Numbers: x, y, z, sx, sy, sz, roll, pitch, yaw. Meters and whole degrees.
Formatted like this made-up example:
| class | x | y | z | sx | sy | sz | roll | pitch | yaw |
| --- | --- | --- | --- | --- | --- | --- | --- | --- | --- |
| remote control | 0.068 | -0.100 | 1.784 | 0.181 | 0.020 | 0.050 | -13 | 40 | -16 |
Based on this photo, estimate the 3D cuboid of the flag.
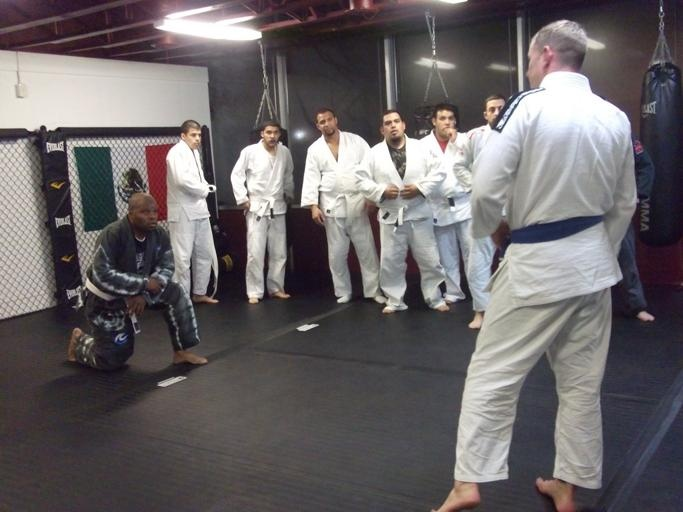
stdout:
| class | x | y | z | sx | sy | sz | roll | pitch | yaw |
| --- | --- | --- | --- | --- | --- | --- | --- | --- | --- |
| flag | -2.441 | -0.778 | 5.633 | 0.020 | 0.872 | 1.184 | 2 | 9 | 34 |

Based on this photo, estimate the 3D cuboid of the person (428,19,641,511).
| class | x | y | z | sx | sy | sz | roll | pitch | yaw |
| --- | --- | --- | --- | --- | --- | --- | --- | --- | --- |
| person | 0.778 | 0.150 | 2.032 | 0.892 | 1.582 | 0.337 | -5 | 12 | -8 |

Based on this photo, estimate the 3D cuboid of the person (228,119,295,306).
| class | x | y | z | sx | sy | sz | roll | pitch | yaw |
| --- | --- | --- | --- | --- | --- | --- | --- | --- | --- |
| person | -0.816 | -0.436 | 5.757 | 0.722 | 1.769 | 0.600 | -8 | 13 | -20 |
